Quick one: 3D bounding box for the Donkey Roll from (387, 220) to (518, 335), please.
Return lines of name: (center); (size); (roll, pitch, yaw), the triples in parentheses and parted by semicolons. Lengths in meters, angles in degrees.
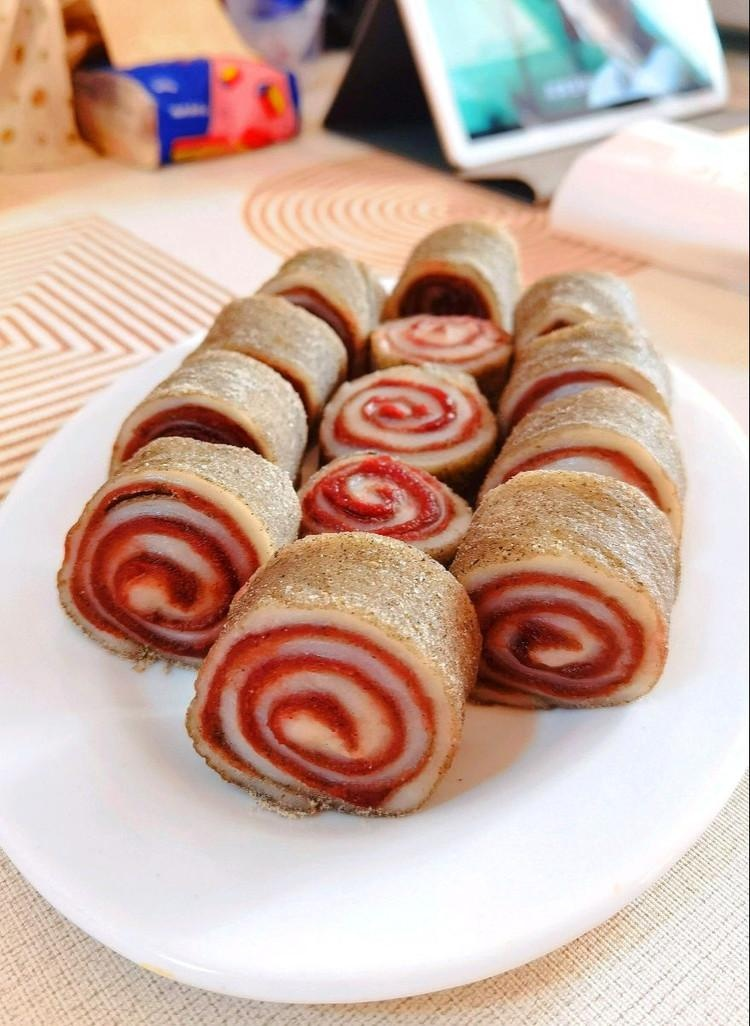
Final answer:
Donkey Roll: (0.119, -0.354, 1.344); (0.176, 0.148, 0.155); (-3, 3, 16)
